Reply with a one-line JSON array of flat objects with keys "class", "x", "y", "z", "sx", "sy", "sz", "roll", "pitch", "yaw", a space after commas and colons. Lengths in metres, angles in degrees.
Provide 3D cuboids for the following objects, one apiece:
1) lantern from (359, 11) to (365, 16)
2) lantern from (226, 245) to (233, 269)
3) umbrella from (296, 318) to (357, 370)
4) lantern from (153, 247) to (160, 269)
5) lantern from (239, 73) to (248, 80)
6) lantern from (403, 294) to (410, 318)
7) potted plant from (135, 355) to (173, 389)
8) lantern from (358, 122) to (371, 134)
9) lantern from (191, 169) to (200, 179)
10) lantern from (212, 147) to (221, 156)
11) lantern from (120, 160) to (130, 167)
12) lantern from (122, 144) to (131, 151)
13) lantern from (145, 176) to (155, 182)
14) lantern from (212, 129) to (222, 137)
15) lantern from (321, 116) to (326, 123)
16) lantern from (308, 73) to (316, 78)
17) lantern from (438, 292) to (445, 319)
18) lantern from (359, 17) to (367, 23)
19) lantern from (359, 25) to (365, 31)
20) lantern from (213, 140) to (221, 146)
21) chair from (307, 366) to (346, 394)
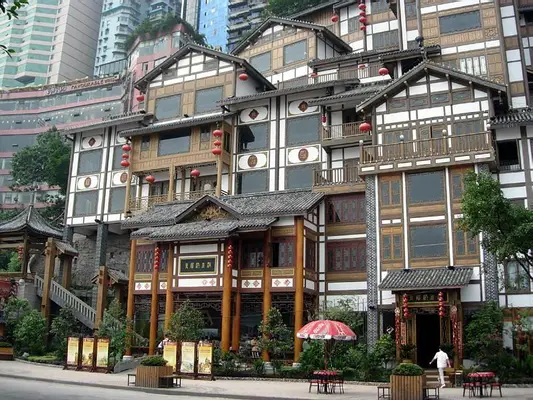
[{"class": "lantern", "x": 8.126, "y": -15.614, "z": 51.543, "sx": 0.356, "sy": 0.173, "sz": 0.340, "roll": 2, "pitch": -1, "yaw": 14}, {"class": "lantern", "x": -2.199, "y": 3.486, "z": 37.374, "sx": 0.410, "sy": 1.455, "sz": 0.688, "roll": -1, "pitch": -13, "yaw": -2}, {"class": "umbrella", "x": 2.964, "y": 6.607, "z": 28.770, "sx": 2.658, "sy": 1.928, "sz": 2.617, "roll": 11, "pitch": -25, "yaw": -19}, {"class": "lantern", "x": -7.083, "y": 3.824, "z": 39.784, "sx": 0.404, "sy": 1.408, "sz": 0.763, "roll": 1, "pitch": -13, "yaw": -9}, {"class": "lantern", "x": -1.653, "y": -9.080, "z": 45.060, "sx": 0.683, "sy": 0.412, "sz": 0.645, "roll": 0, "pitch": -1, "yaw": -10}, {"class": "lantern", "x": 7.818, "y": 5.944, "z": 34.033, "sx": 0.475, "sy": 1.359, "sz": 0.307, "roll": 8, "pitch": -16, "yaw": -34}, {"class": "potted plant", "x": -5.271, "y": 8.255, "z": 29.327, "sx": 1.616, "sy": 1.454, "sz": 1.406, "roll": -1, "pitch": -8, "yaw": 12}, {"class": "lantern", "x": 6.248, "y": -4.549, "z": 38.131, "sx": 0.857, "sy": 0.765, "sz": 0.809, "roll": 8, "pitch": -1, "yaw": -3}, {"class": "lantern", "x": -5.165, "y": -1.838, "z": 44.463, "sx": 0.669, "sy": 0.656, "sz": 0.661, "roll": 2, "pitch": -1, "yaw": -44}, {"class": "lantern", "x": -3.501, "y": -3.373, "z": 43.592, "sx": 0.575, "sy": 0.572, "sz": 0.543, "roll": 1, "pitch": -14, "yaw": 4}, {"class": "lantern", "x": -10.753, "y": -2.720, "z": 46.841, "sx": 0.593, "sy": 0.378, "sz": 0.560, "roll": 1, "pitch": 1, "yaw": -12}, {"class": "lantern", "x": -10.618, "y": -3.919, "z": 46.834, "sx": 0.674, "sy": 0.599, "sz": 0.660, "roll": 0, "pitch": 7, "yaw": -42}, {"class": "lantern", "x": -8.706, "y": -1.528, "z": 46.004, "sx": 0.525, "sy": 0.405, "sz": 0.495, "roll": 1, "pitch": 3, "yaw": -9}, {"class": "lantern", "x": -3.487, "y": -4.788, "z": 44.104, "sx": 0.592, "sy": 0.572, "sz": 0.549, "roll": 0, "pitch": -6, "yaw": -30}, {"class": "lantern", "x": 4.054, "y": -5.531, "z": 42.344, "sx": 0.365, "sy": 0.530, "sz": 0.351, "roll": -2, "pitch": -13, "yaw": 4}, {"class": "lantern", "x": 3.555, "y": -9.291, "z": 45.993, "sx": 0.752, "sy": 0.331, "sz": 0.701, "roll": -1, "pitch": 16, "yaw": 1}, {"class": "lantern", "x": 9.519, "y": 5.685, "z": 33.192, "sx": 0.380, "sy": 1.377, "sz": 0.818, "roll": -5, "pitch": -14, "yaw": 15}, {"class": "lantern", "x": 8.124, "y": -15.025, "z": 51.188, "sx": 0.526, "sy": 0.669, "sz": 0.743, "roll": -4, "pitch": -13, "yaw": 14}, {"class": "lantern", "x": 8.109, "y": -14.250, "z": 51.096, "sx": 0.471, "sy": 0.443, "sz": 0.411, "roll": 20, "pitch": -29, "yaw": 15}, {"class": "lantern", "x": -3.441, "y": -4.007, "z": 43.589, "sx": 0.413, "sy": 0.386, "sz": 0.392, "roll": 5, "pitch": -11, "yaw": -19}, {"class": "chair", "x": 2.850, "y": 8.468, "z": 28.603, "sx": 1.581, "sy": 0.964, "sz": 2.020, "roll": -2, "pitch": -12, "yaw": 5}]
